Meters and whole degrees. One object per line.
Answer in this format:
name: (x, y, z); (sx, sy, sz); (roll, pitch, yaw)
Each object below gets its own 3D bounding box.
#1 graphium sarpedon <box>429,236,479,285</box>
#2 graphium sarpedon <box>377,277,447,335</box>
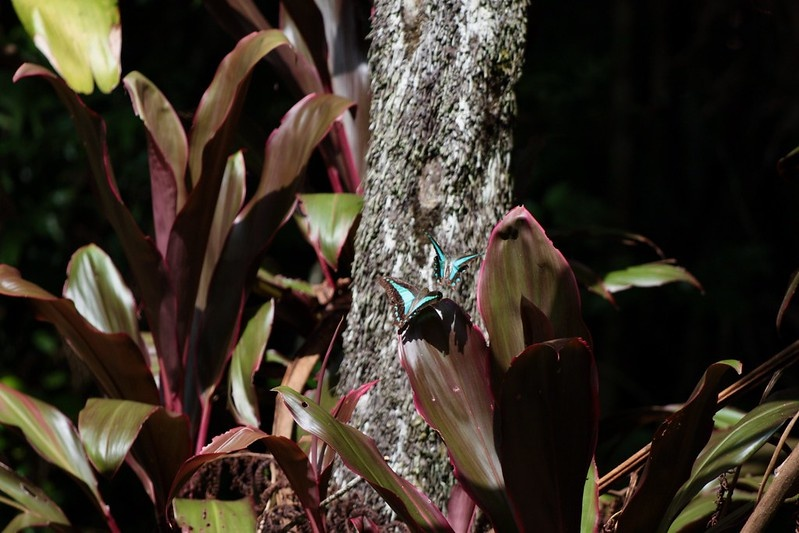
graphium sarpedon: (0.125, -0.001, 2.637); (0.125, 0.111, 0.083); (20, 15, 4)
graphium sarpedon: (0.013, 0.079, 2.562); (0.136, 0.120, 0.074); (23, -11, 24)
